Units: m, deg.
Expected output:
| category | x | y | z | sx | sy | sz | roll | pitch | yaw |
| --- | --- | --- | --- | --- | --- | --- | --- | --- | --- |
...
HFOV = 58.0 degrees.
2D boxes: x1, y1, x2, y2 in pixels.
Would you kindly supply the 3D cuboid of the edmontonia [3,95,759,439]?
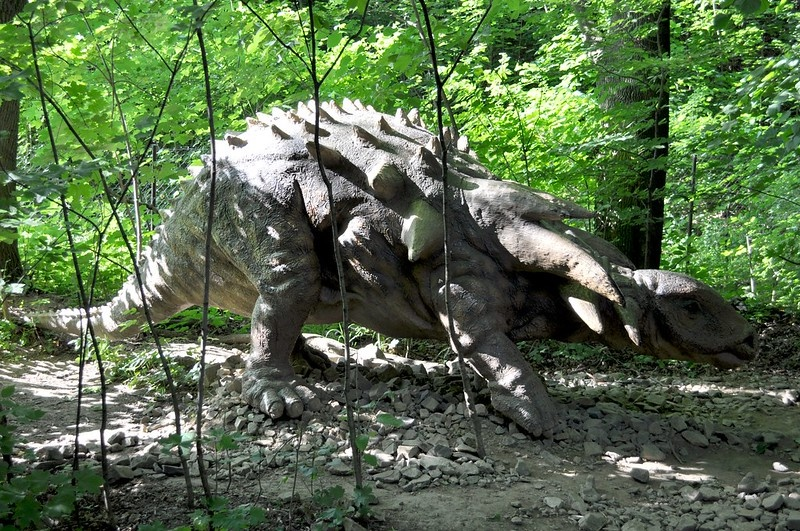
| category | x | y | z | sx | sy | sz | roll | pitch | yaw |
| --- | --- | --- | --- | --- | --- | --- | --- | --- | --- |
| edmontonia | -0.120 | -0.115 | 6.272 | 5.184 | 3.109 | 1.535 | -9 | -9 | 27 |
